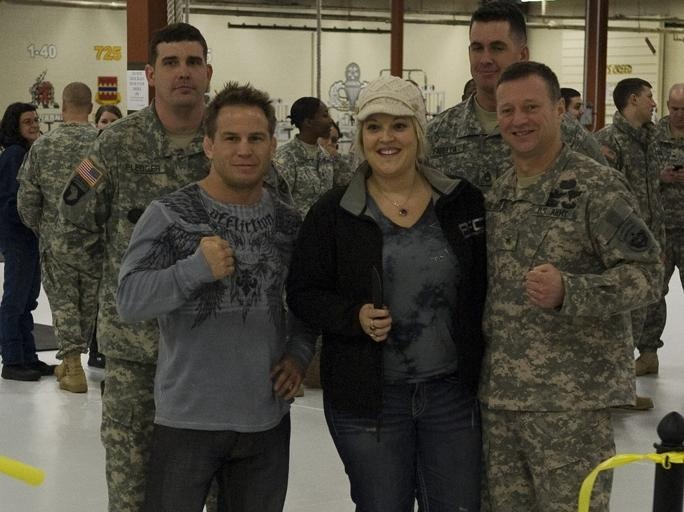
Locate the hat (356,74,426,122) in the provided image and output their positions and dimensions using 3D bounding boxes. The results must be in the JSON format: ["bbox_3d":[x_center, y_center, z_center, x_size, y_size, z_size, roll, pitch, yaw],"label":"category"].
[{"bbox_3d":[0.190,-0.592,2.613,0.173,0.120,0.233,-2,-14,15],"label":"hat"}]

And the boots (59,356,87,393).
[{"bbox_3d":[-2.262,1.012,5.812,0.161,0.298,0.428,-2,8,-18],"label":"boots"}]

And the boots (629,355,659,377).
[{"bbox_3d":[2.898,1.016,6.493,0.201,0.201,0.344,2,6,24],"label":"boots"}]

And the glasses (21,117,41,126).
[{"bbox_3d":[-3.036,-1.327,6.762,0.085,0.097,0.208,1,6,13],"label":"glasses"}]

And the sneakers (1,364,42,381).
[{"bbox_3d":[-2.890,1.050,6.248,0.388,0.169,0.142,1,5,7],"label":"sneakers"}]
